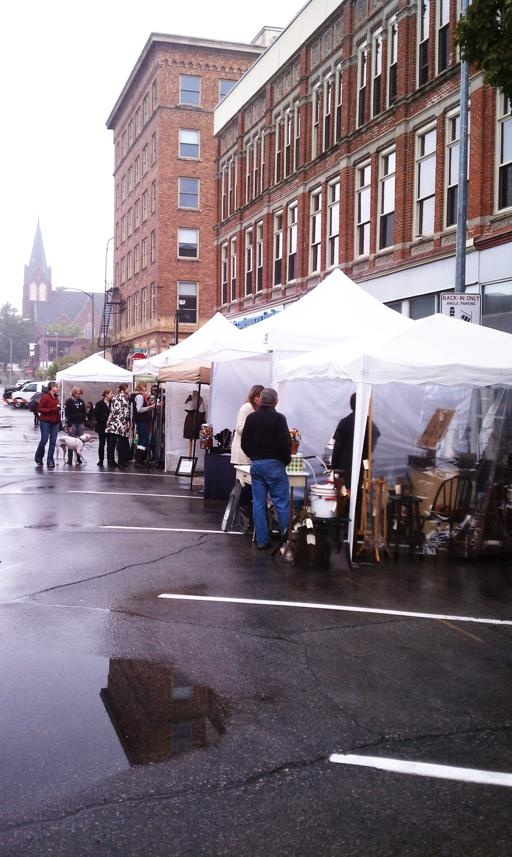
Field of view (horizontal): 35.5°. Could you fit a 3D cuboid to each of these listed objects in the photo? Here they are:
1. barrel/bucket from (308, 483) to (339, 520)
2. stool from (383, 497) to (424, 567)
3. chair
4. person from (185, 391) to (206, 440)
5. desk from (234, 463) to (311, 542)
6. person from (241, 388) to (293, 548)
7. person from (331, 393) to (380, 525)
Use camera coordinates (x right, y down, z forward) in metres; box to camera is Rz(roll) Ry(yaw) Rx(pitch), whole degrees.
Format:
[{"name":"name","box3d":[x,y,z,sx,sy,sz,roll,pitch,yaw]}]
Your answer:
[{"name":"barrel/bucket","box3d":[0.690,0.735,8.225,0.259,0.331,0.296,1,-4,1]},{"name":"stool","box3d":[1.762,1.100,9.267,0.334,0.610,0.392,-1,1,-15]},{"name":"chair","box3d":[2.216,0.960,9.293,0.424,0.876,0.486,-17,16,-25]},{"name":"person","box3d":[-1.347,-0.279,17.439,0.478,1.115,2.174,1,3,-5]},{"name":"desk","box3d":[0.228,0.842,9.832,0.784,0.745,0.349,4,-18,4]},{"name":"person","box3d":[0.133,0.448,9.046,0.644,1.792,0.462,2,2,20]},{"name":"person","box3d":[1.252,0.283,9.965,0.557,1.854,0.516,-3,34,3]}]
